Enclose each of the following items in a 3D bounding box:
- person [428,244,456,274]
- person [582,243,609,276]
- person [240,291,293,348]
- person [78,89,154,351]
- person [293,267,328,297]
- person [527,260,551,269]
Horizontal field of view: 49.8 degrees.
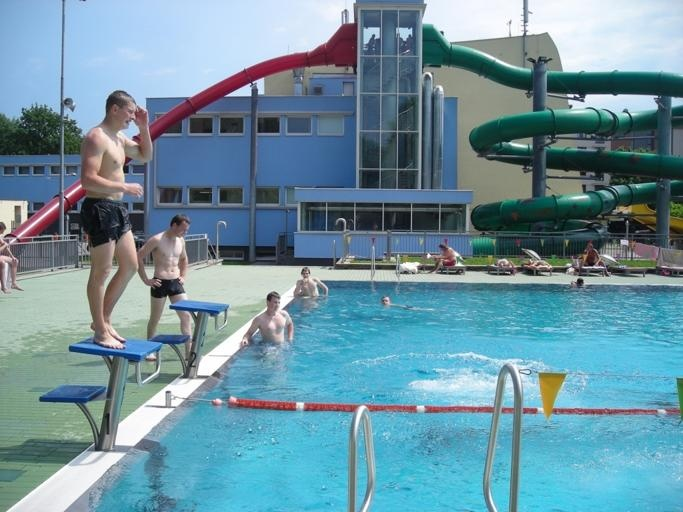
[{"bbox_3d":[3.953,0.180,28.160,1.265,1.460,0.633,3,-11,6],"label":"person"},{"bbox_3d":[9.382,0.048,27.559,1.400,0.857,0.450,17,4,-26],"label":"person"},{"bbox_3d":[-1.471,1.251,14.702,0.738,1.122,1.377,0,4,8],"label":"person"},{"bbox_3d":[-3.037,-0.550,9.913,0.700,3.438,0.961,2,4,30],"label":"person"},{"bbox_3d":[-0.930,0.816,22.218,0.677,1.155,0.401,-6,8,3],"label":"person"},{"bbox_3d":[7.331,0.370,27.321,0.925,0.304,0.895,1,4,18],"label":"person"}]
